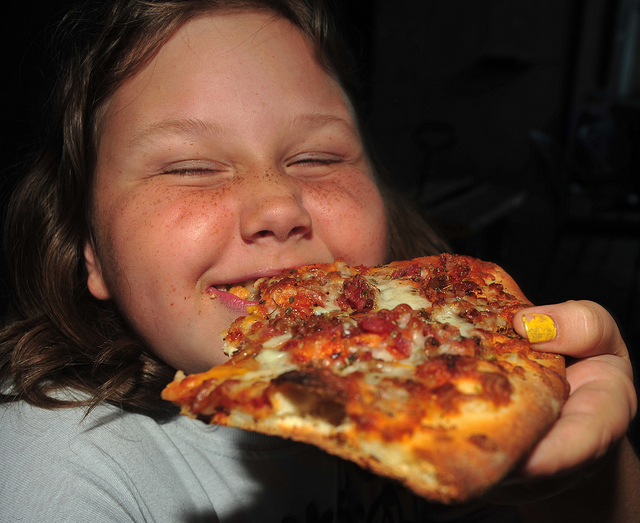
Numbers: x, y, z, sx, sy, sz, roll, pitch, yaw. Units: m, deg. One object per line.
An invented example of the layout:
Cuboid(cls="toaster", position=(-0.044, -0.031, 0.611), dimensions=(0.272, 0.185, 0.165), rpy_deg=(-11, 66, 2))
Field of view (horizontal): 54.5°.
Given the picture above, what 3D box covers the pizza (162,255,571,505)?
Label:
Cuboid(cls="pizza", position=(0.200, 0.211, 1.780), dimensions=(0.930, 0.202, 0.929), rpy_deg=(12, 36, 27))
